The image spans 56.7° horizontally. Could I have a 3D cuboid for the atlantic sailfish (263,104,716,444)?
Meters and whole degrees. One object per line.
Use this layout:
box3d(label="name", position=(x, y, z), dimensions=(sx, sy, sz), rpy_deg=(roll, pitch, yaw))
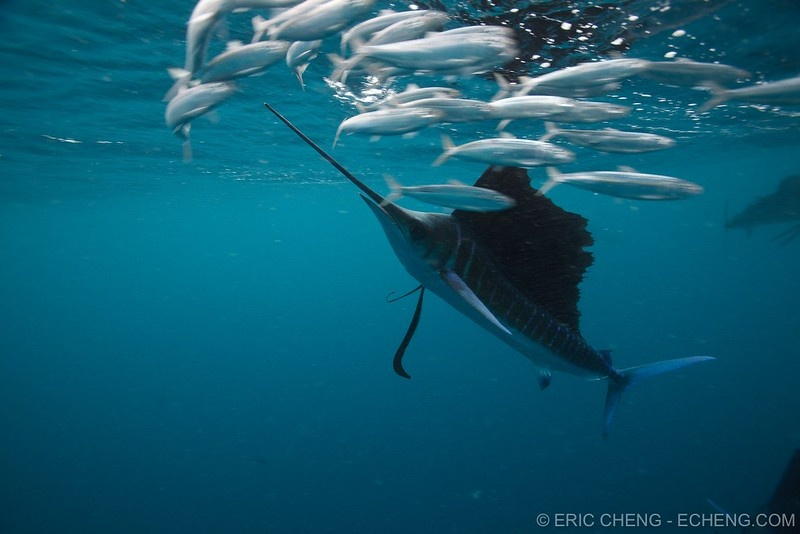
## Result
box3d(label="atlantic sailfish", position=(3.267, 0.386, 22.012), dimensions=(5.221, 7.762, 4.412), rpy_deg=(-22, 39, 0))
